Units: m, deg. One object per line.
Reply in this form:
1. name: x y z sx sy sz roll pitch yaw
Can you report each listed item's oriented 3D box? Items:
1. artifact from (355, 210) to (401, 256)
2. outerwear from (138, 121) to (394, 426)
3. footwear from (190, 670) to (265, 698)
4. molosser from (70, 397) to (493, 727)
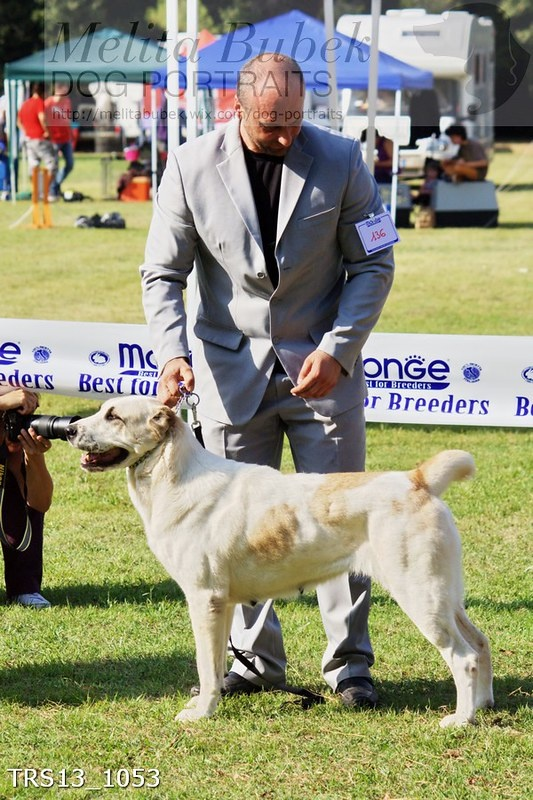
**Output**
1. artifact: 0.449 -0.671 4.916 0.191 0.185 0.113 2 11 -30
2. outerwear: -0.068 -0.529 5.098 0.856 1.387 0.873 1 21 -8
3. footwear: -0.186 1.221 5.170 0.333 0.135 0.110 6 -5 -18
4. molosser: 0.034 0.705 4.783 1.681 1.284 0.277 9 10 7
